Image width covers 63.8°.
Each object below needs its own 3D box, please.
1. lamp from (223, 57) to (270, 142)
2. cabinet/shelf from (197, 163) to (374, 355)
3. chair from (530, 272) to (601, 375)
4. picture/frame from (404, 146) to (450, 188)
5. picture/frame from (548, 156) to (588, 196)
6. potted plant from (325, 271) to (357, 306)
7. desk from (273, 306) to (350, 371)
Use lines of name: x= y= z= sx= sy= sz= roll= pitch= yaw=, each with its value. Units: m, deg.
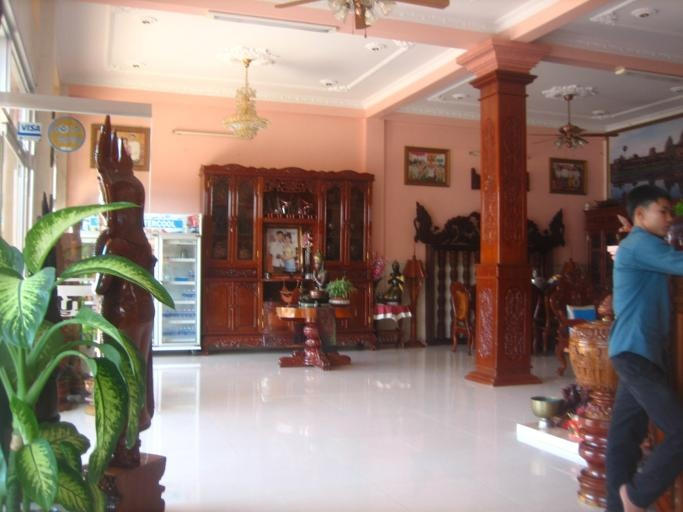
lamp: x=-1.446 y=-2.277 z=8.108 sx=0.593 sy=1.167 sz=1.093 roll=0 pitch=-1 yaw=-18
cabinet/shelf: x=-1.030 y=0.099 z=8.899 sx=2.938 sy=3.278 sz=0.878 roll=1 pitch=-4 yaw=-17
chair: x=3.379 y=0.850 z=8.293 sx=0.880 sy=1.587 sz=2.284 roll=0 pitch=0 yaw=18
picture/frame: x=1.533 y=-1.649 z=10.140 sx=0.762 sy=0.642 sz=0.064 roll=0 pitch=0 yaw=-14
picture/frame: x=4.498 y=-1.620 z=11.005 sx=0.775 sy=0.679 sz=0.061 roll=1 pitch=-3 yaw=-21
potted plant: x=-0.001 y=0.500 z=8.012 sx=0.406 sy=0.412 sz=0.417 roll=1 pitch=-4 yaw=-5
desk: x=-0.490 y=1.149 z=7.925 sx=0.893 sy=0.750 sz=0.983 roll=4 pitch=4 yaw=41
